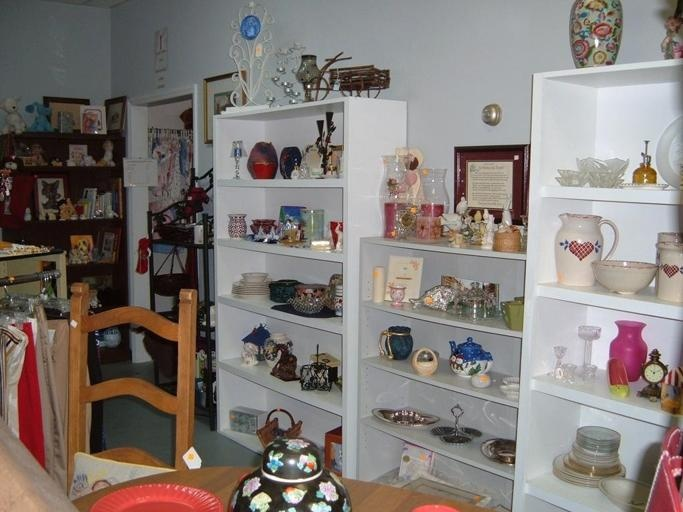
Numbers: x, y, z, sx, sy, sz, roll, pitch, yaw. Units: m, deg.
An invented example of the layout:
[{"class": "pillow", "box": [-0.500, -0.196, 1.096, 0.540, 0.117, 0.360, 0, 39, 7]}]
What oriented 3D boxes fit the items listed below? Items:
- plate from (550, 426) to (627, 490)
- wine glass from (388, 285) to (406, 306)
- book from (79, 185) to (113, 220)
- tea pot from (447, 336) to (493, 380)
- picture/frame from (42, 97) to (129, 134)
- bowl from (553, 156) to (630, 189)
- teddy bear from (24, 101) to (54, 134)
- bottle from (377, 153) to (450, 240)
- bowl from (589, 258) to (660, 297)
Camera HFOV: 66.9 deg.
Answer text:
[{"class": "plate", "box": [1.054, 0.820, 2.180, 0.214, 0.147, 0.228, 0, 10, 8]}, {"class": "wine glass", "box": [0.290, 0.201, 2.727, 0.089, 0.100, 0.093, 0, 5, -3]}, {"class": "book", "box": [-2.585, -0.525, 5.502, 0.380, 0.413, 0.292, 4, 2, 11]}, {"class": "tea pot", "box": [0.626, 0.493, 2.591, 0.149, 0.169, 0.223, -6, 12, -38]}, {"class": "picture/frame", "box": [-2.694, -1.476, 5.419, 0.810, 0.390, 0.464, -2, 8, -23]}, {"class": "bowl", "box": [1.001, -0.332, 2.076, 0.254, 0.116, 0.194, 5, 8, 25]}, {"class": "teddy bear", "box": [-3.107, -1.400, 5.277, 0.244, 0.303, 0.339, -4, 9, -32]}, {"class": "bottle", "box": [0.386, -0.313, 2.753, 0.412, 0.539, 0.208, 4, 5, 41]}, {"class": "bowl", "box": [1.096, 0.079, 2.010, 0.209, 0.118, 0.177, 3, 8, 14]}]
